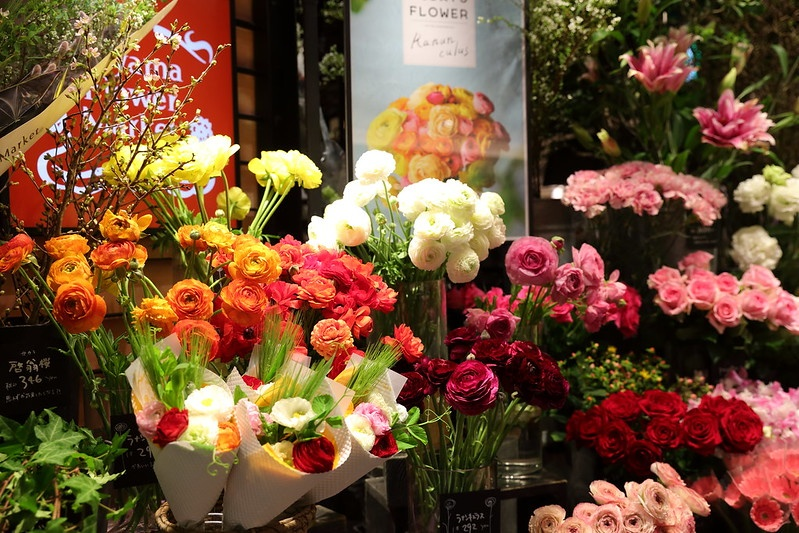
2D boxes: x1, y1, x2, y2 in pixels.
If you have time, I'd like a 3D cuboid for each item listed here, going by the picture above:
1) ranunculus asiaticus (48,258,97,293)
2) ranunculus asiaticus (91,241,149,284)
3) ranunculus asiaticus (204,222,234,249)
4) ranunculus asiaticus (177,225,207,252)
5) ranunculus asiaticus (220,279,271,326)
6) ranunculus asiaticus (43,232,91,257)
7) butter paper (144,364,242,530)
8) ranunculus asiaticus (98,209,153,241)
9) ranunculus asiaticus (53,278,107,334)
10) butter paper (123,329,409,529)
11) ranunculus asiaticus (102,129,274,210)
[{"bbox_3d":[-0.800,0.022,1.512,0.085,0.096,0.056,2,-14,-10],"label":"ranunculus asiaticus"},{"bbox_3d":[-0.709,-0.007,1.558,0.129,0.107,0.087,-3,16,-3],"label":"ranunculus asiaticus"},{"bbox_3d":[-0.470,-0.067,1.617,0.064,0.044,0.068,12,35,-31],"label":"ranunculus asiaticus"},{"bbox_3d":[-0.545,-0.070,1.607,0.069,0.049,0.073,2,15,7],"label":"ranunculus asiaticus"},{"bbox_3d":[-0.384,0.087,1.527,0.106,0.114,0.064,-24,-3,-12],"label":"ranunculus asiaticus"},{"bbox_3d":[-0.827,-0.050,1.546,0.067,0.044,0.064,-2,7,39],"label":"ranunculus asiaticus"},{"bbox_3d":[-0.491,0.465,1.542,0.164,0.229,0.221,16,24,11],"label":"butter paper"},{"bbox_3d":[-0.688,-0.122,1.567,0.086,0.051,0.097,33,30,35],"label":"ranunculus asiaticus"},{"bbox_3d":[-0.778,0.111,1.503,0.103,0.155,0.111,-15,21,-38],"label":"ranunculus asiaticus"},{"bbox_3d":[-0.365,0.484,1.654,0.574,0.641,0.490,11,17,-29],"label":"butter paper"},{"bbox_3d":[-0.640,-0.263,1.717,0.291,0.189,0.257,6,18,23],"label":"ranunculus asiaticus"}]
